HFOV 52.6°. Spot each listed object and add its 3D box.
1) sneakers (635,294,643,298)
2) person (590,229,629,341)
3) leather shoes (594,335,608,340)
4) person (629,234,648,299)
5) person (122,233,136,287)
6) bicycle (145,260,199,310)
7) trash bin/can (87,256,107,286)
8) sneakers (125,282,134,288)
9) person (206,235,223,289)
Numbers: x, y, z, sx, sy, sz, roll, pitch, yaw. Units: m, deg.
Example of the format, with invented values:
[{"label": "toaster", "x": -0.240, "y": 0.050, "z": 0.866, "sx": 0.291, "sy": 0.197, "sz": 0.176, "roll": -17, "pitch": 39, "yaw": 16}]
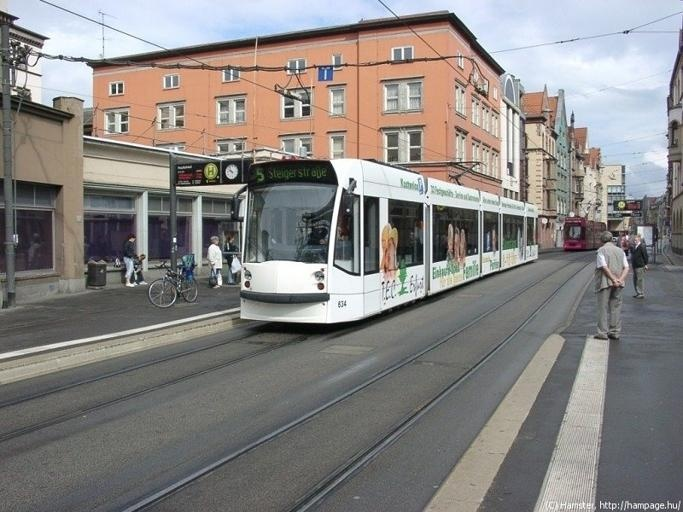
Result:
[{"label": "sneakers", "x": 8.306, "y": 1.133, "z": 19.099, "sx": 0.209, "sy": 0.105, "sz": 0.416, "roll": 2, "pitch": 7, "yaw": 25}, {"label": "person", "x": 5.051, "y": 0.548, "z": 12.838, "sx": 0.537, "sy": 2.031, "sz": 1.546, "roll": 1, "pitch": 7, "yaw": 23}, {"label": "leather shoes", "x": 4.725, "y": 1.487, "z": 12.517, "sx": 0.087, "sy": 0.102, "sz": 0.209, "roll": -1, "pitch": 3, "yaw": -42}, {"label": "person", "x": 8.762, "y": 0.344, "z": 20.179, "sx": 0.445, "sy": 1.753, "sz": 2.721, "roll": 1, "pitch": 7, "yaw": 24}, {"label": "person", "x": -7.134, "y": 0.185, "z": 23.152, "sx": 0.394, "sy": 1.661, "sz": 0.878, "roll": -3, "pitch": 7, "yaw": -18}, {"label": "bicycle", "x": -4.482, "y": 0.835, "z": 17.982, "sx": 0.742, "sy": 1.066, "sz": 1.634, "roll": -11, "pitch": -5, "yaw": 22}, {"label": "trash bin/can", "x": -7.950, "y": 0.626, "z": 22.274, "sx": 0.630, "sy": 0.848, "sz": 0.509, "roll": -5, "pitch": 7, "yaw": -28}, {"label": "sneakers", "x": -7.068, "y": 0.998, "z": 22.973, "sx": 0.322, "sy": 0.156, "sz": 0.122, "roll": -2, "pitch": 0, "yaw": 18}, {"label": "person", "x": -4.282, "y": 0.144, "z": 23.340, "sx": 0.392, "sy": 1.686, "sz": 2.568, "roll": -3, "pitch": 7, "yaw": -11}]
